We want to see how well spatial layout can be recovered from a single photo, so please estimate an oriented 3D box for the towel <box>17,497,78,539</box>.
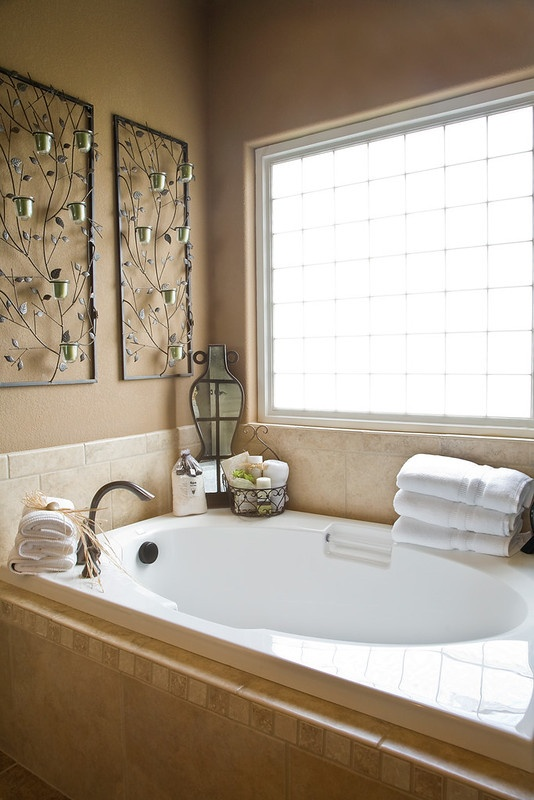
[{"bbox_3d":[-0.578,0.314,1.650,0.098,0.054,0.137,2,-1,-11],"label":"towel"}]
